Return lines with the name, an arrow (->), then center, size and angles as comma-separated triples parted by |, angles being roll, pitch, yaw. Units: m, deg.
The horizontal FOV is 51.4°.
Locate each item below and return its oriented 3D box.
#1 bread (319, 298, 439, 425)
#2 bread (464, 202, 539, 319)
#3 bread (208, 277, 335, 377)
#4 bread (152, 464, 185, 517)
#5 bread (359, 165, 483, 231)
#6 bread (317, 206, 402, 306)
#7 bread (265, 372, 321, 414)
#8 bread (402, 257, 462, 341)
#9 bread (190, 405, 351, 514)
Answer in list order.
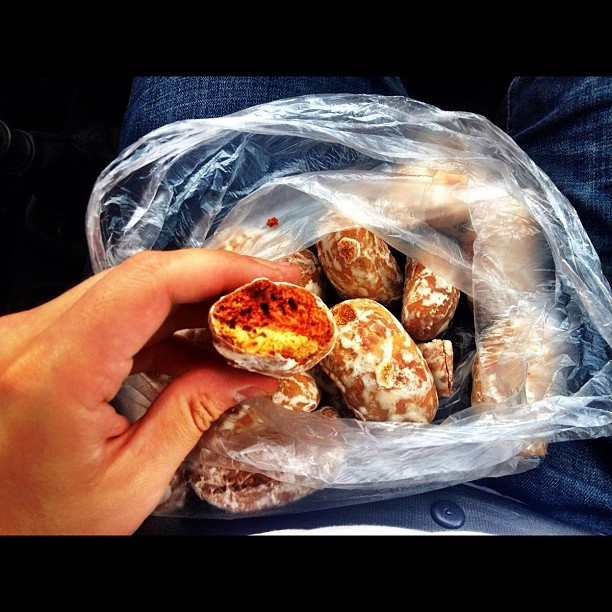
bread -> 0.098, 0.078, 0.885 | 0.127, 0.102, 0.175 | -32, 91, 4
bread -> 0.270, -0.063, 0.875 | 0.146, 0.065, 0.141 | 2, 98, 16
bread -> -0.038, 0.022, 0.711 | 0.153, 0.052, 0.093 | 3, 54, -2
bread -> -0.182, 0.259, 0.888 | 0.031, 0.064, 0.056 | 6, 83, 4
bread -> 0.163, -0.155, 0.901 | 0.132, 0.058, 0.089 | -9, 71, -5
bread -> 0.088, -0.074, 0.940 | 0.093, 0.083, 0.132 | -35, 108, -14
bread -> -0.011, 0.117, 0.859 | 0.080, 0.039, 0.045 | 4, 79, -22
bread -> 0.187, -0.018, 0.913 | 0.087, 0.048, 0.119 | -7, 116, 3
bread -> -0.050, 0.247, 0.903 | 0.220, 0.067, 0.126 | 5, 76, 0
